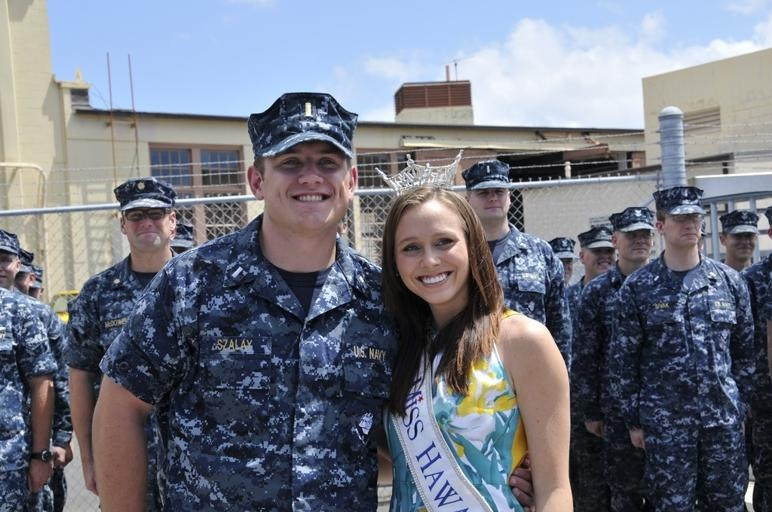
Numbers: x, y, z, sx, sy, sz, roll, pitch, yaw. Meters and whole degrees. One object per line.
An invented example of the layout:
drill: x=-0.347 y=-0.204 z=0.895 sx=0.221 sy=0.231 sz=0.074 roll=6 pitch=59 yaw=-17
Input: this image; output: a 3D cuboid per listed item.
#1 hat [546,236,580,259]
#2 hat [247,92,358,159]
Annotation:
hat: x=2.371 y=-0.122 z=15.689 sx=0.414 sy=0.170 sz=0.399 roll=1 pitch=-7 yaw=1
hat: x=-0.752 y=-1.138 z=11.166 sx=1.048 sy=0.559 sz=1.222 roll=-2 pitch=-8 yaw=-14
